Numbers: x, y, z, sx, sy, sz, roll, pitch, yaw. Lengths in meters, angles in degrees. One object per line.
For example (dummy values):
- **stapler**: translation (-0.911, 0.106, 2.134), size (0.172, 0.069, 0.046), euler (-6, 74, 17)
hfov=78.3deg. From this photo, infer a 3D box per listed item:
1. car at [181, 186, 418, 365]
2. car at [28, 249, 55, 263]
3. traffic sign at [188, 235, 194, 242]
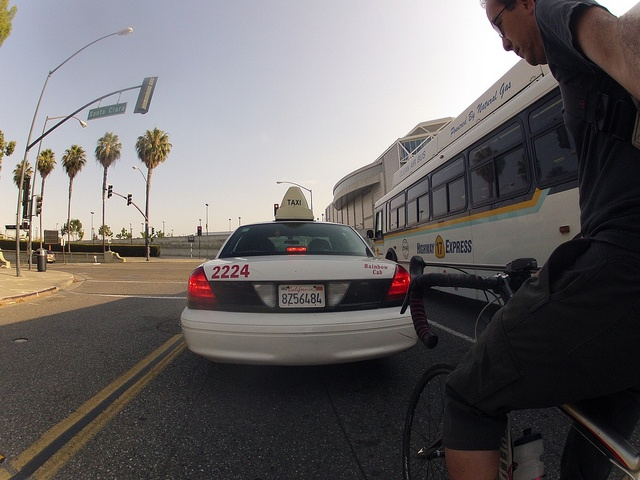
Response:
- **car**: translation (-0.339, 0.558, 4.716), size (1.210, 1.257, 2.839), euler (0, -10, -4)
- **car**: translation (-18.617, 1.107, 26.315), size (2.276, 0.856, 1.075), euler (11, 7, 36)
- **traffic sign**: translation (-14.431, -0.171, 44.077), size (0.673, 0.707, 0.405), euler (-1, -5, -2)
